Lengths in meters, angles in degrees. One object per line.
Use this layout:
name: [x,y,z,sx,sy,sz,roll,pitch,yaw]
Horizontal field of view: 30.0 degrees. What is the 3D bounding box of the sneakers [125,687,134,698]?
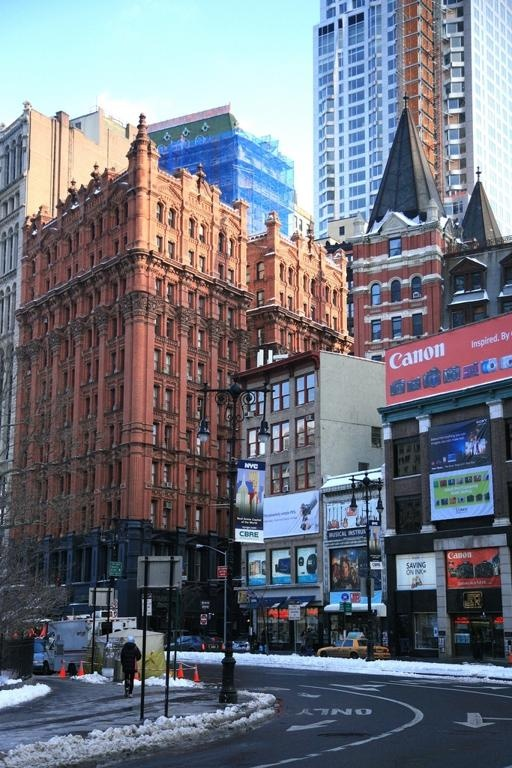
sneakers: [-3.363,8.226,25.228,0.119,0.263,0.377,4,-36,-12]
